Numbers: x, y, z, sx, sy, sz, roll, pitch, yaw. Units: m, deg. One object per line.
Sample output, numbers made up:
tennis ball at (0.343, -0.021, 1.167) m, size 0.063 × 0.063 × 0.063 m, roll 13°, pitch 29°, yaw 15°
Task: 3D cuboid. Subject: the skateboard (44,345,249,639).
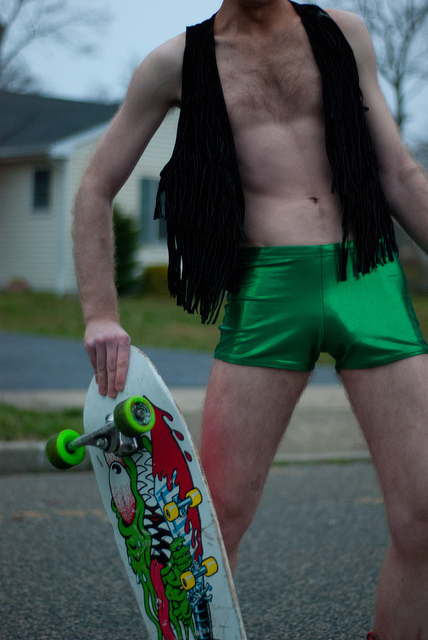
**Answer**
skateboard at (-0.149, 0.245, 1.811) m, size 0.274 × 0.898 × 0.153 m, roll -28°, pitch -12°, yaw 38°
